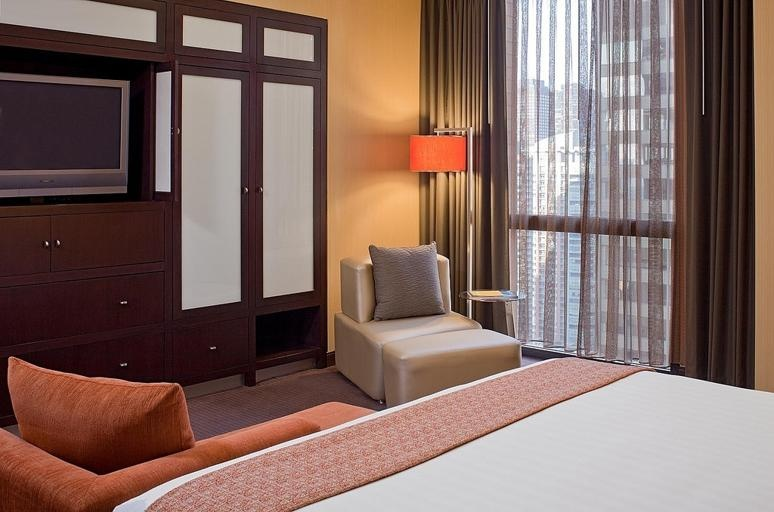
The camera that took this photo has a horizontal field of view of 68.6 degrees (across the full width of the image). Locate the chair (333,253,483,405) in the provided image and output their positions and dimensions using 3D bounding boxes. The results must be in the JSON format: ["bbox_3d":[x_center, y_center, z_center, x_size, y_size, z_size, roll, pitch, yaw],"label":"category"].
[{"bbox_3d":[0.188,0.498,5.023,1.108,1.252,1.106,-2,2,-31],"label":"chair"}]

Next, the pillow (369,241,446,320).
[{"bbox_3d":[0.171,0.238,4.747,0.530,0.533,0.282,-4,11,-19],"label":"pillow"}]

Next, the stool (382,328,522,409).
[{"bbox_3d":[0.576,0.868,4.412,0.926,0.447,0.523,-7,3,-9],"label":"stool"}]
